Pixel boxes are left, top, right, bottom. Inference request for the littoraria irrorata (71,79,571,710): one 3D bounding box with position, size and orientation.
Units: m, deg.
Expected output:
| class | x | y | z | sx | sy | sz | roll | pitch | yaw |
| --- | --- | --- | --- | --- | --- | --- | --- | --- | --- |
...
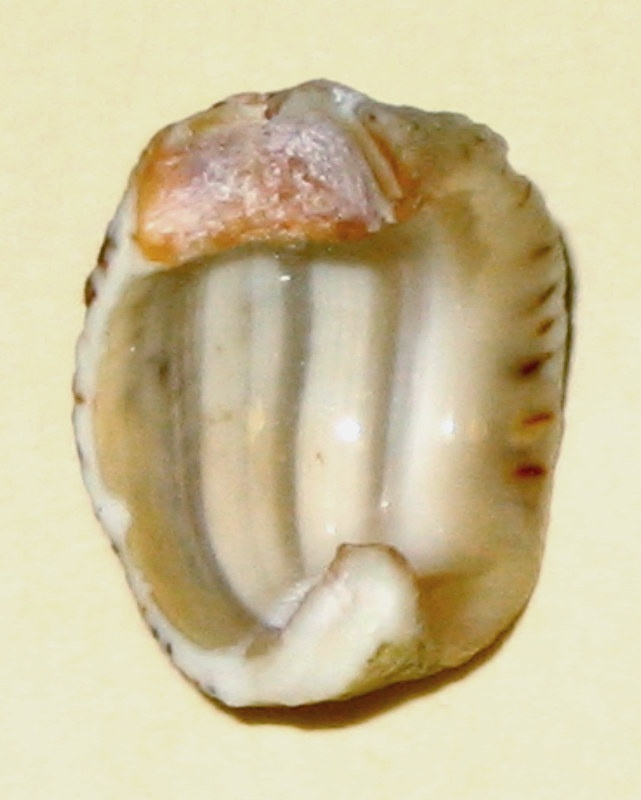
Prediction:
| class | x | y | z | sx | sy | sz | roll | pitch | yaw |
| --- | --- | --- | --- | --- | --- | --- | --- | --- | --- |
| littoraria irrorata | -0.005 | -0.009 | 1.251 | 0.401 | 0.462 | 0.304 | 2 | 28 | 7 |
